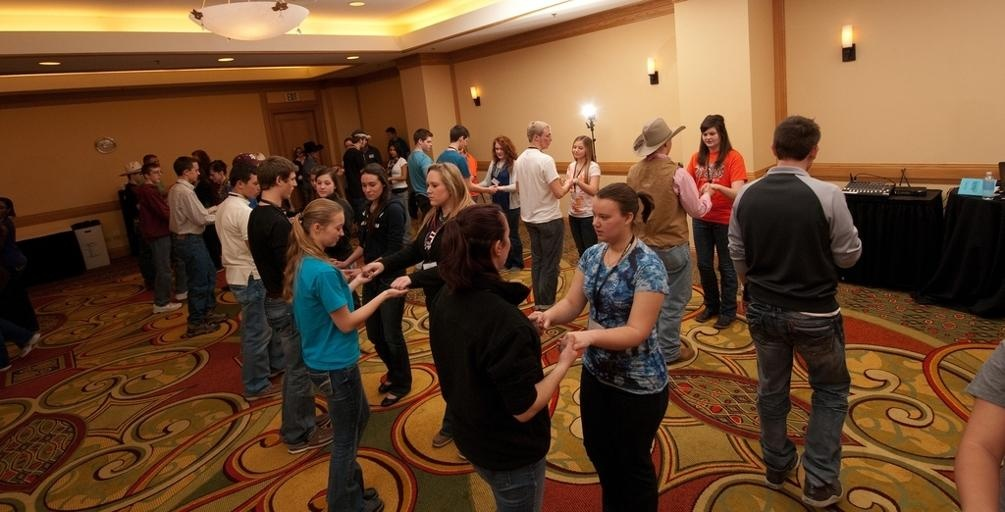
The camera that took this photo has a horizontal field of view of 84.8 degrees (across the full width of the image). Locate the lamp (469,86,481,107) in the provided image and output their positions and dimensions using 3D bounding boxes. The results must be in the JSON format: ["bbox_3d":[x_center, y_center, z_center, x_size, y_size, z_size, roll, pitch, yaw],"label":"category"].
[{"bbox_3d":[-0.598,-3.627,12.546,0.240,0.437,0.134,0,17,13],"label":"lamp"}]

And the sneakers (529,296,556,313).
[{"bbox_3d":[0.608,0.733,8.260,0.512,0.192,0.180,-4,11,16],"label":"sneakers"}]

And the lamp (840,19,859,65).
[{"bbox_3d":[5.407,-3.293,8.585,0.226,0.554,0.077,-1,17,9],"label":"lamp"}]

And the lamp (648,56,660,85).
[{"bbox_3d":[2.761,-3.344,10.045,0.185,0.465,0.097,5,19,28],"label":"lamp"}]

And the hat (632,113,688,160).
[{"bbox_3d":[1.977,-1.559,6.984,0.763,0.260,0.625,-36,14,-35],"label":"hat"}]

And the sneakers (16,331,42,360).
[{"bbox_3d":[-7.398,1.412,8.672,0.200,0.406,0.176,19,-14,29],"label":"sneakers"}]
